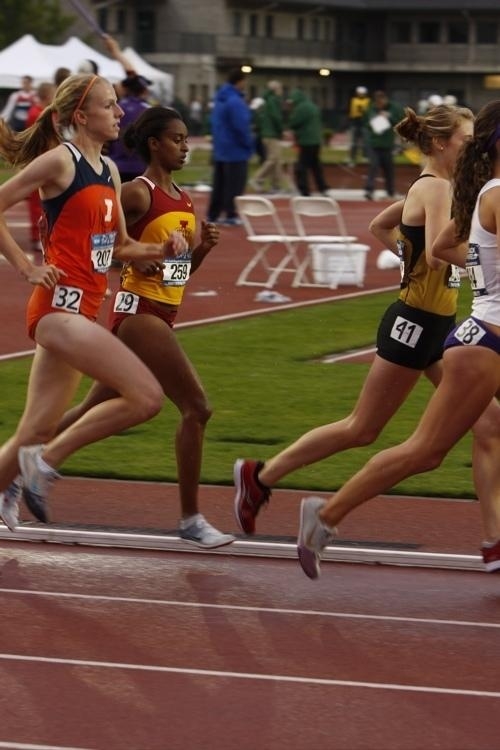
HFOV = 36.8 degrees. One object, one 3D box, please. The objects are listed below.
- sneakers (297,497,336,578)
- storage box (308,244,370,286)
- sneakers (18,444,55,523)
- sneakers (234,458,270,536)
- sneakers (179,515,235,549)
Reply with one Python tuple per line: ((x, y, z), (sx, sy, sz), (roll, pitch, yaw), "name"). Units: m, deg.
((0.247, 0.582, 2.739), (0.150, 0.290, 0.111), (-1, 2, 22), "sneakers")
((1.291, -1.668, 11.201), (0.874, 0.542, 0.672), (0, 2, -11), "storage box")
((-0.778, 0.381, 2.803), (0.162, 0.298, 0.115), (-1, 6, 20), "sneakers")
((0.036, 0.525, 3.240), (0.179, 0.319, 0.121), (-5, 8, 11), "sneakers")
((-0.198, 0.638, 3.191), (0.303, 0.117, 0.102), (7, 14, 31), "sneakers")
